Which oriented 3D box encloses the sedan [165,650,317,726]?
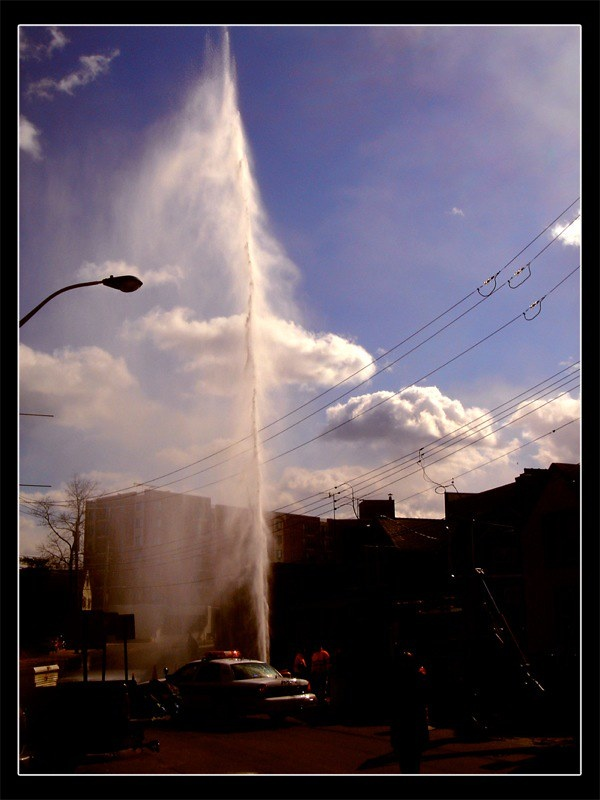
[{"bbox_3d":[-1.350,6.119,16.293,3.090,1.165,1.246,-10,-12,27],"label":"sedan"}]
